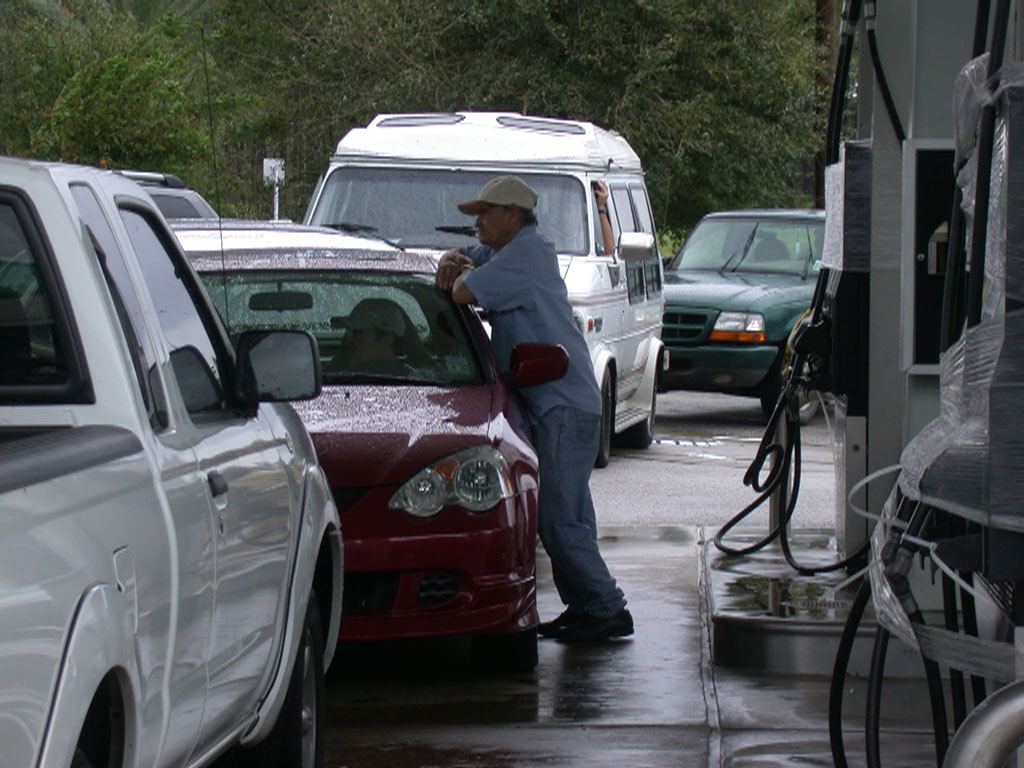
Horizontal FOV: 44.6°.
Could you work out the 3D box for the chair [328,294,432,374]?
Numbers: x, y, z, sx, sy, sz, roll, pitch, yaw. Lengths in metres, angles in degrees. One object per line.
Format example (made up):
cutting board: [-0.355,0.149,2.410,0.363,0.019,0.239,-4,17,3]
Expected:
chair: [-0.738,-0.308,6.530,0.402,0.243,0.273,7,-28,-9]

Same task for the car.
car: [-0.489,0.196,6.370,1.348,1.199,2.564,0,-2,2]

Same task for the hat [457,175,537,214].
hat: [-0.083,-0.998,6.605,0.330,0.187,0.240,2,4,4]

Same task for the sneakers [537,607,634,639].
sneakers: [0.396,1.202,6.533,0.496,0.249,0.200,1,1,16]

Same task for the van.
van: [0.130,-1.112,12.212,2.360,2.406,3.974,2,3,8]

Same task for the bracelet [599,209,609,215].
bracelet: [0.826,-1.576,11.345,0.077,0.032,0.121,3,1,2]

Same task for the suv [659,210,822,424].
suv: [2.698,-1.069,14.859,1.451,1.645,3.094,1,0,22]

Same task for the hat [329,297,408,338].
hat: [-0.710,-0.349,6.521,0.251,0.140,0.198,3,-2,3]
